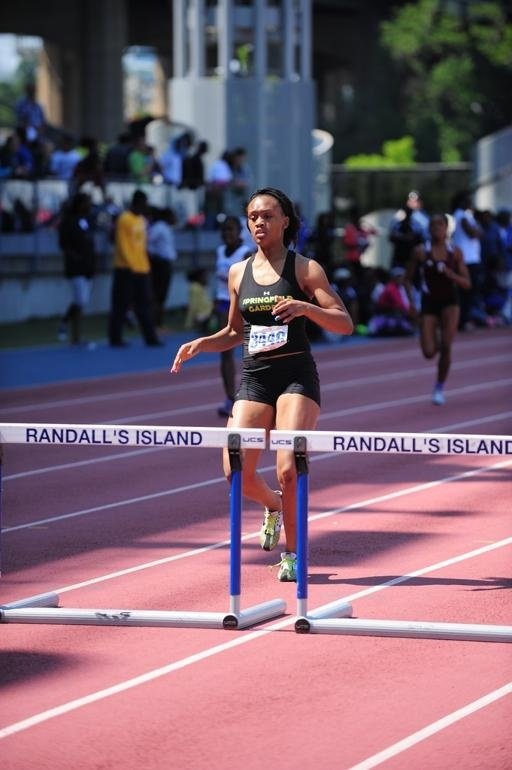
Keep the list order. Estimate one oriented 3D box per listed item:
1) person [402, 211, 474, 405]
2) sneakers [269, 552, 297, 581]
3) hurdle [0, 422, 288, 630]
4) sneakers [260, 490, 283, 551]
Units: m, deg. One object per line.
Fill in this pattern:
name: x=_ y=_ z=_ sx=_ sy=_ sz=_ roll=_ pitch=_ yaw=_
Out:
person: x=1.981 y=-0.934 z=10.838 sx=0.657 sy=1.797 sz=1.360 roll=0 pitch=4 yaw=7
sneakers: x=0.138 y=0.927 z=5.008 sx=0.134 sy=0.144 sz=0.341 roll=1 pitch=-10 yaw=2
hurdle: x=-0.437 y=0.404 z=4.463 sx=1.498 sy=0.857 sz=0.873 roll=1 pitch=0 yaw=12
sneakers: x=0.083 y=0.726 z=5.283 sx=0.113 sy=0.313 sz=0.143 roll=4 pitch=4 yaw=3
